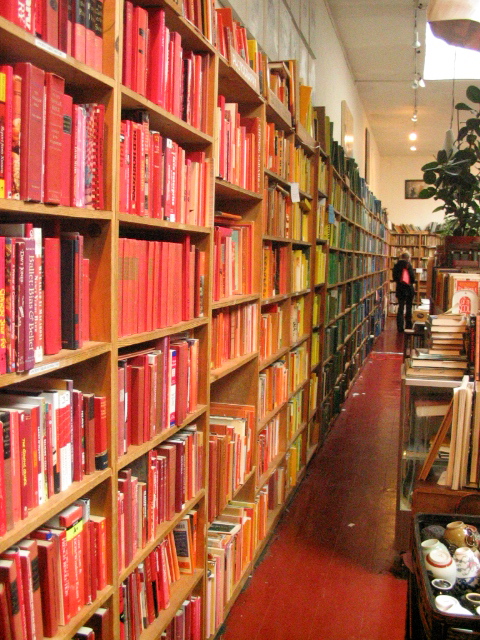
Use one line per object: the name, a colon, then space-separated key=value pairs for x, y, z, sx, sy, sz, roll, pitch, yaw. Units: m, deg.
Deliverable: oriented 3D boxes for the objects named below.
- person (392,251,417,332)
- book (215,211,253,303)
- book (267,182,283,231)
person: x=4.036 y=-0.773 z=12.281 sx=0.504 sy=2.060 sz=0.526 roll=8 pitch=36 yaw=28
book: x=-0.030 y=-0.290 z=2.343 sx=0.185 sy=0.457 sz=0.395 roll=0 pitch=1 yaw=18
book: x=0.202 y=-0.662 z=2.926 sx=0.033 sy=0.308 sz=0.282 roll=0 pitch=4 yaw=12
